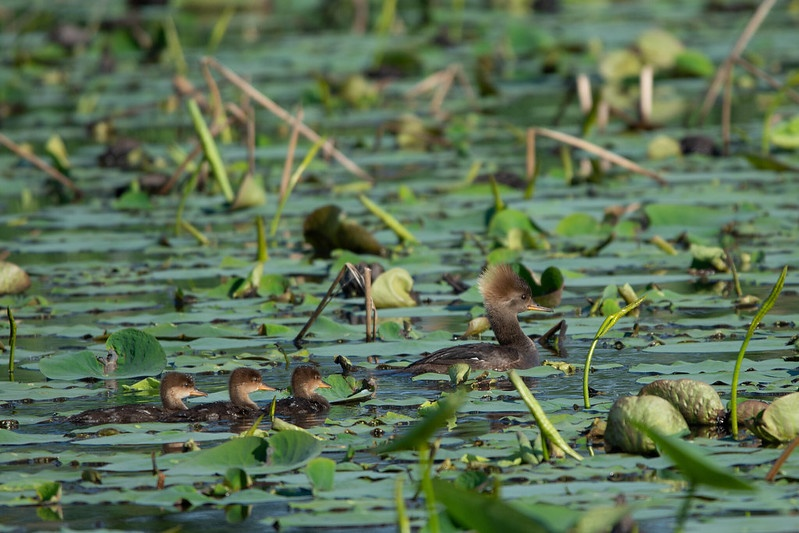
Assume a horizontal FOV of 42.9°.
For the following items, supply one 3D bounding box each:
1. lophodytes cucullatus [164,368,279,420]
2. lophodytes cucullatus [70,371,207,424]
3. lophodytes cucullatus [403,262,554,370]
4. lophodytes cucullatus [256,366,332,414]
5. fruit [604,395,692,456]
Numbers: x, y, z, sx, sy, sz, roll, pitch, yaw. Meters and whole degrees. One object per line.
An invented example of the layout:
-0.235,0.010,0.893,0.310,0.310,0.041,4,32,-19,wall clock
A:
-1.349,0.980,7.960,0.973,0.443,0.303,-4,7,-26,lophodytes cucullatus
-1.946,0.991,7.892,0.927,0.326,0.769,1,-1,9,lophodytes cucullatus
0.589,0.545,9.338,1.851,1.054,0.563,0,0,-21,lophodytes cucullatus
-0.875,1.002,8.014,0.743,0.380,0.403,-1,4,-36,lophodytes cucullatus
1.678,1.036,6.892,0.421,0.298,0.529,9,25,39,fruit
